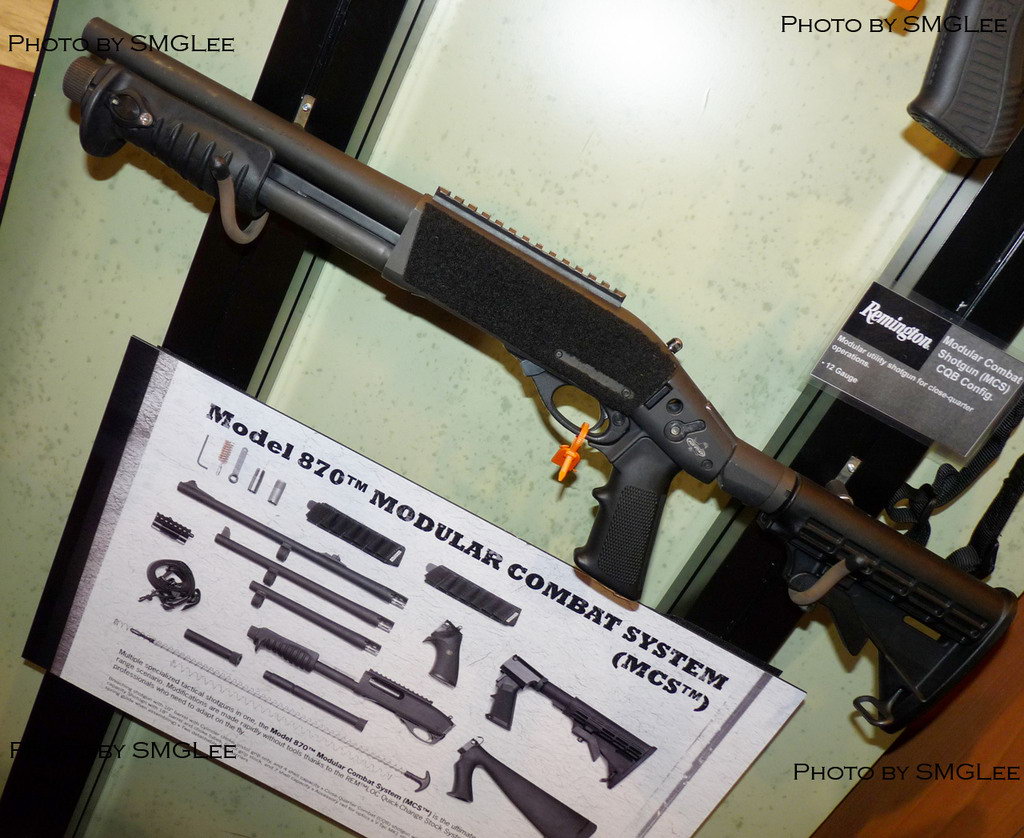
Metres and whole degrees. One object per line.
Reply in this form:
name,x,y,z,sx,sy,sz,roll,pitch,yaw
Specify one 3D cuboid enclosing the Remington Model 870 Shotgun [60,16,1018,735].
Remington Model 870 Shotgun,0.071,-0.110,1.850,2.091,0.647,0.307,31,11,-3
